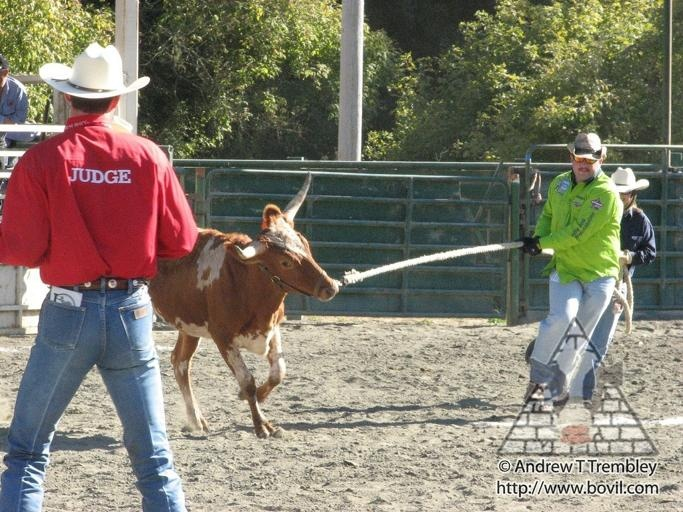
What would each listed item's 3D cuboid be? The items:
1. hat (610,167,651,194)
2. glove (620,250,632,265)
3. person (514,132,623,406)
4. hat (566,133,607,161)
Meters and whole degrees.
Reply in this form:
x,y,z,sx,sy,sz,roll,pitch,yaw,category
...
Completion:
x,y,z,sx,sy,sz,roll,pitch,yaw,category
4.114,-1.050,23.965,0.475,0.225,0.567,0,6,24,hat
4.030,0.048,23.440,0.174,0.171,0.175,1,-8,-14,glove
3.223,0.227,22.771,1.213,3.750,0.555,1,2,9,person
3.395,-1.471,22.760,0.508,0.377,0.441,1,2,1,hat
